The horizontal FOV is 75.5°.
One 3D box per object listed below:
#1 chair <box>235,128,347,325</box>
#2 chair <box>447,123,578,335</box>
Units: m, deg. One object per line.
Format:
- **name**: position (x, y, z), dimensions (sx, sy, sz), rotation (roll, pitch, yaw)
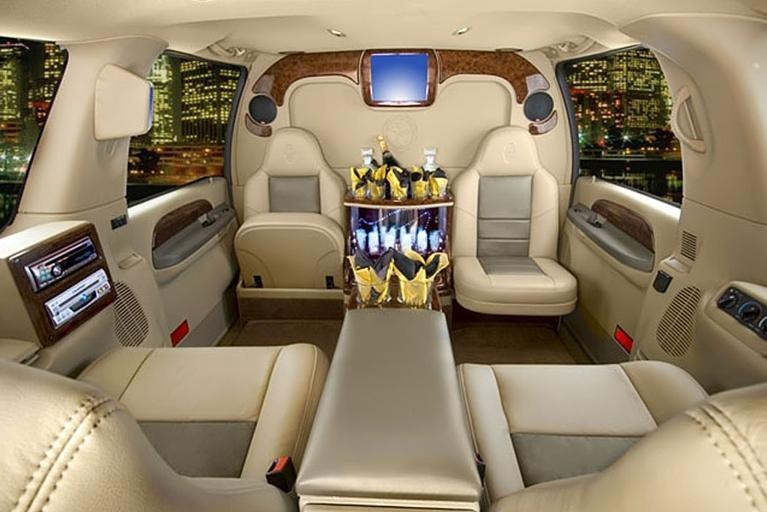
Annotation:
- **chair**: position (-0.683, -0.237, 3.758), dimensions (0.732, 1.233, 0.745), rotation (-1, 26, -5)
- **chair**: position (0.927, -0.168, 3.588), dimensions (0.849, 1.431, 0.854), rotation (1, 18, 8)
